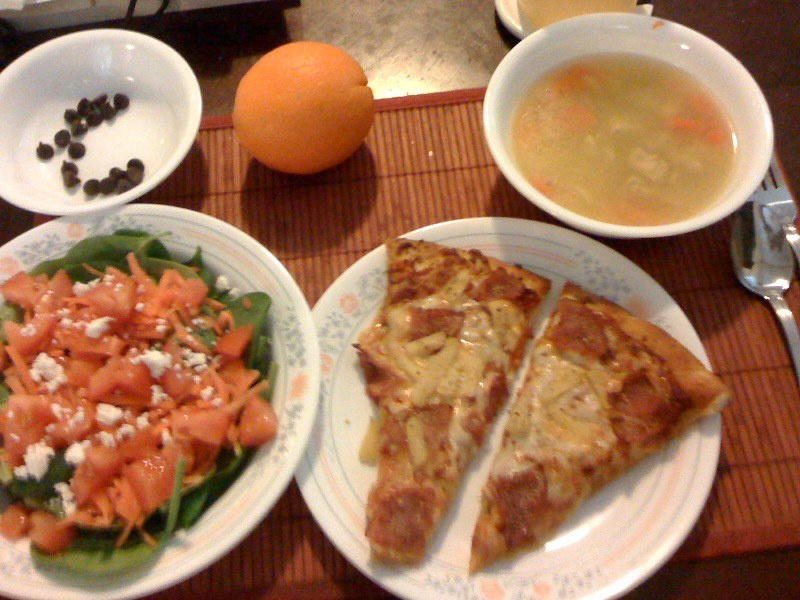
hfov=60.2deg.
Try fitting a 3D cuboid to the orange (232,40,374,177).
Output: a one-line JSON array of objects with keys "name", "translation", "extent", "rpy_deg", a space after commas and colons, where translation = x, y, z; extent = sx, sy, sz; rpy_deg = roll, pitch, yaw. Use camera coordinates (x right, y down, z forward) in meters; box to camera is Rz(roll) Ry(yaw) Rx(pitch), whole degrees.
[{"name": "orange", "translation": [-0.301, -0.643, 2.435], "extent": [0.466, 0.386, 0.373], "rpy_deg": [-13, 60, 14]}]
